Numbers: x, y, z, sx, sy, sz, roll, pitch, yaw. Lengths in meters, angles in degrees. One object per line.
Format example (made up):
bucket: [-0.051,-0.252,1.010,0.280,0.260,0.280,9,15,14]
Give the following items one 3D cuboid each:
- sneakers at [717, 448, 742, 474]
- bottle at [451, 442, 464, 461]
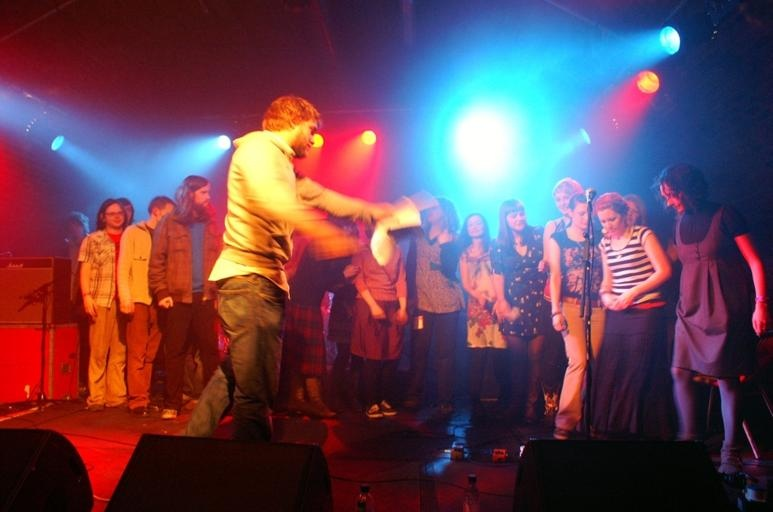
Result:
sneakers: [3.626,2.179,6.769,0.130,0.269,0.400,-18,-55,33]
bottle: [0.779,2.148,7.025,0.132,0.132,0.129,-1,-10,4]
